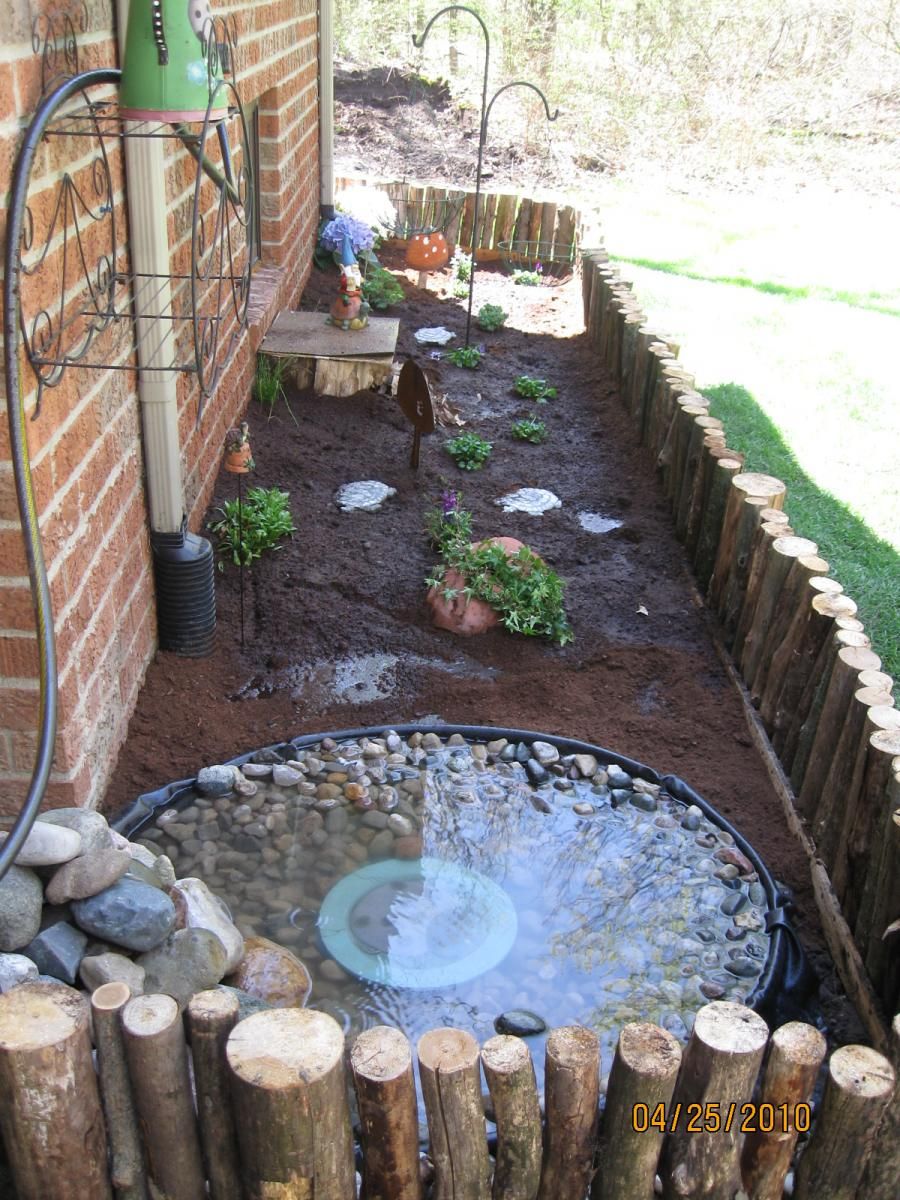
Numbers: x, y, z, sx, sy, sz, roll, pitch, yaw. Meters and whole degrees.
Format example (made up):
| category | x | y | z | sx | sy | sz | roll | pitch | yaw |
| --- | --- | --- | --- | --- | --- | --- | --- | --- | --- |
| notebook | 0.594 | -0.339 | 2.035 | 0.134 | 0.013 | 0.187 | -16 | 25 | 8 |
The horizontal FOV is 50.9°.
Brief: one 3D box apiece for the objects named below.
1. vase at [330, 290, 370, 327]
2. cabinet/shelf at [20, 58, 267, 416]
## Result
| category | x | y | z | sx | sy | sz | roll | pitch | yaw |
| --- | --- | --- | --- | --- | --- | --- | --- | --- | --- |
| vase | -0.771 | -2.268 | 7.201 | 0.269 | 0.284 | 0.278 | 2 | 33 | -4 |
| cabinet/shelf | -1.155 | -1.471 | 3.554 | 0.546 | 0.758 | 1.543 | -17 | 23 | -16 |
